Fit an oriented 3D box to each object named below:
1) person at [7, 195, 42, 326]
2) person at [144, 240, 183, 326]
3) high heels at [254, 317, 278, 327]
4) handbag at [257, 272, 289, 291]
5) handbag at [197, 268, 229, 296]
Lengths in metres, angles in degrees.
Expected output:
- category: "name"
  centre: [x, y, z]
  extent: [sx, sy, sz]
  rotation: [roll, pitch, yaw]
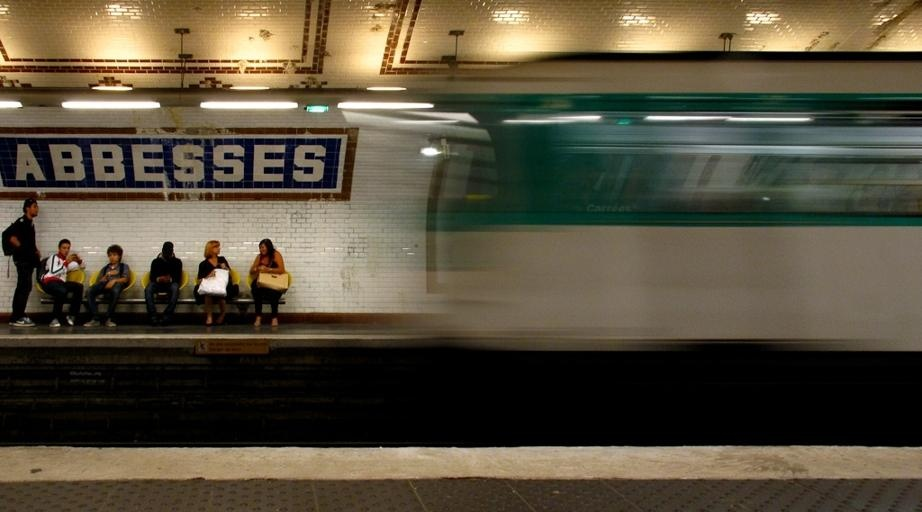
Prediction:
- category: "person"
  centre: [-7.351, 0.100, 12.606]
  extent: [0.511, 2.089, 0.692]
  rotation: [0, 11, -2]
- category: "person"
  centre: [-5.173, 0.445, 13.137]
  extent: [0.578, 1.351, 0.683]
  rotation: [-2, 11, -9]
- category: "high heels"
  centre: [-3.385, 1.128, 13.119]
  extent: [0.338, 0.147, 0.216]
  rotation: [2, -18, -8]
- category: "handbag"
  centre: [-3.316, 0.443, 13.188]
  extent: [0.506, 0.140, 0.369]
  rotation: [5, 27, -11]
- category: "handbag"
  centre: [-4.270, 0.460, 13.056]
  extent: [0.526, 0.476, 0.339]
  rotation: [-4, 11, -21]
